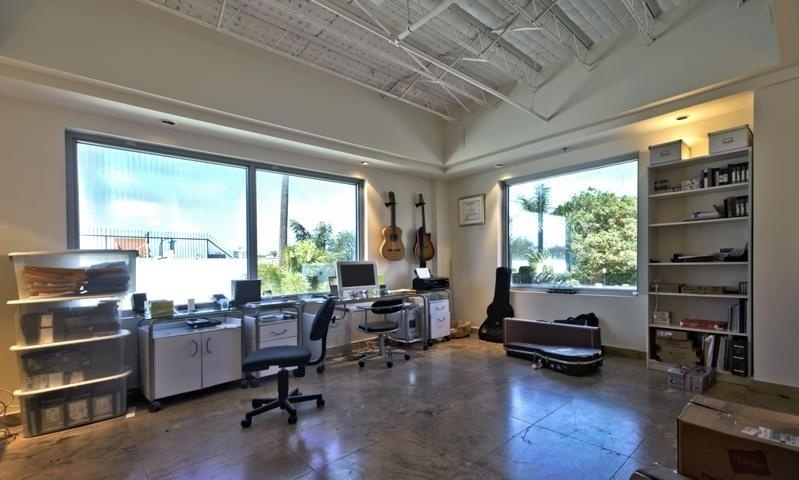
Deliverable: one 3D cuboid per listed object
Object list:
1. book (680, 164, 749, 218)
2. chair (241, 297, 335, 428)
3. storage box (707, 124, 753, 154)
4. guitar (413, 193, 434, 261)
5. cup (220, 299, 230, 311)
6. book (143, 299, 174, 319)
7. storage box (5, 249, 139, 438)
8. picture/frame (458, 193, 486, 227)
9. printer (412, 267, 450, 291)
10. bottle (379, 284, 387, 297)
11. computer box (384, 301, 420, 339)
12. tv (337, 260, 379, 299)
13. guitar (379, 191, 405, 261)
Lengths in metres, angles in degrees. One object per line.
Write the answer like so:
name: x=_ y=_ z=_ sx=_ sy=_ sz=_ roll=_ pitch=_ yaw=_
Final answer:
book: x=4.900 y=-0.775 z=7.531 sx=0.328 sy=0.811 sz=0.905 roll=2 pitch=-2 yaw=-32
chair: x=-1.570 y=1.688 z=6.824 sx=1.273 sy=1.476 sz=1.279 roll=-2 pitch=-4 yaw=-13
storage box: x=4.901 y=-1.503 z=7.267 sx=0.488 sy=0.285 sz=0.496 roll=-3 pitch=-3 yaw=44
guitar: x=0.510 y=-0.214 z=10.186 sx=0.270 sy=1.549 sz=0.463 roll=-5 pitch=-4 yaw=34
cup: x=-2.746 y=1.018 z=7.690 sx=0.165 sy=0.280 sz=0.158 roll=0 pitch=4 yaw=0
book: x=-3.471 y=0.952 z=7.099 sx=0.439 sy=0.301 sz=0.238 roll=1 pitch=4 yaw=-34
storage box: x=-4.342 y=1.343 z=6.523 sx=1.366 sy=2.399 sz=0.406 roll=-1 pitch=-4 yaw=-32
picture/frame: x=1.544 y=-0.631 z=10.224 sx=0.055 sy=0.707 sz=0.738 roll=7 pitch=-7 yaw=-41
printer: x=0.550 y=0.809 z=9.659 sx=0.471 sy=0.431 sz=0.601 roll=-5 pitch=-6 yaw=44
bottle: x=-0.295 y=0.945 z=9.065 sx=0.182 sy=0.240 sz=0.175 roll=-1 pitch=-1 yaw=0
computer box: x=0.160 y=1.606 z=9.441 sx=0.489 sy=0.649 sz=0.631 roll=1 pitch=-5 yaw=-33
tv: x=-0.757 y=0.711 z=8.751 sx=0.668 sy=0.531 sz=0.226 roll=1 pitch=-10 yaw=-33
guitar: x=-0.156 y=-0.271 z=9.694 sx=0.500 sy=1.395 sz=0.203 roll=0 pitch=-4 yaw=-37
